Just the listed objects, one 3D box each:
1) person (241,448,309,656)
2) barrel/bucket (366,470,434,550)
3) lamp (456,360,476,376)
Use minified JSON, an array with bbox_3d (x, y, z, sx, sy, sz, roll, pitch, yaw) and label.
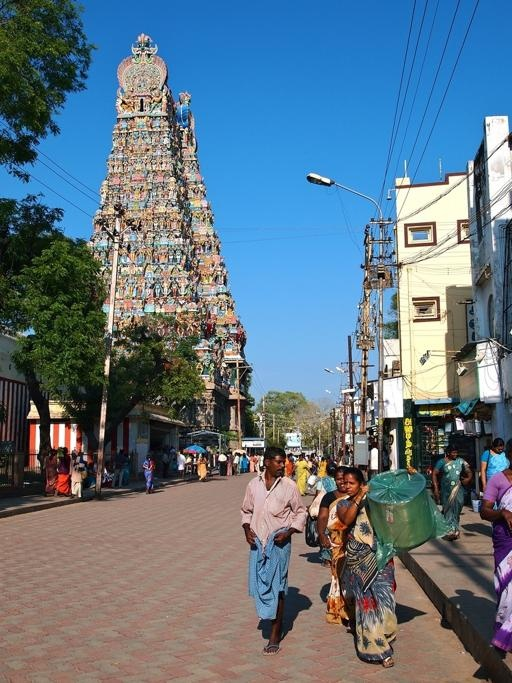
[{"bbox_3d":[0.099,1.557,4.859,0.533,1.472,0.479,7,-12,-43],"label":"person"},{"bbox_3d":[1.085,1.276,4.607,0.495,0.472,0.593,-8,14,22],"label":"barrel/bucket"},{"bbox_3d":[8.075,0.960,23.768,0.183,0.507,0.606,9,1,-38],"label":"lamp"}]
